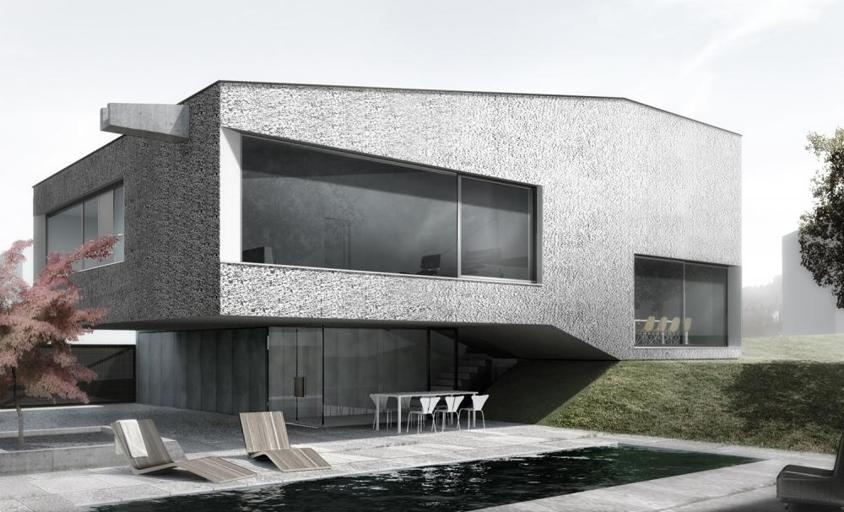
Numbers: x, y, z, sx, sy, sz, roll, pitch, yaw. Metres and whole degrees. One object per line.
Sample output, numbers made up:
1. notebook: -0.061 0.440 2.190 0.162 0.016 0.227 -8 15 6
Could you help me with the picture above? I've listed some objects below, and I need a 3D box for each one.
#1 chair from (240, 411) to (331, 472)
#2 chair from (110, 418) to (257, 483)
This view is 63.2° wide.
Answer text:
1. chair: -3.748 4.780 17.858 1.250 0.971 2.364 4 -1 -40
2. chair: -6.004 4.909 16.689 3.799 1.274 1.488 3 -3 26
